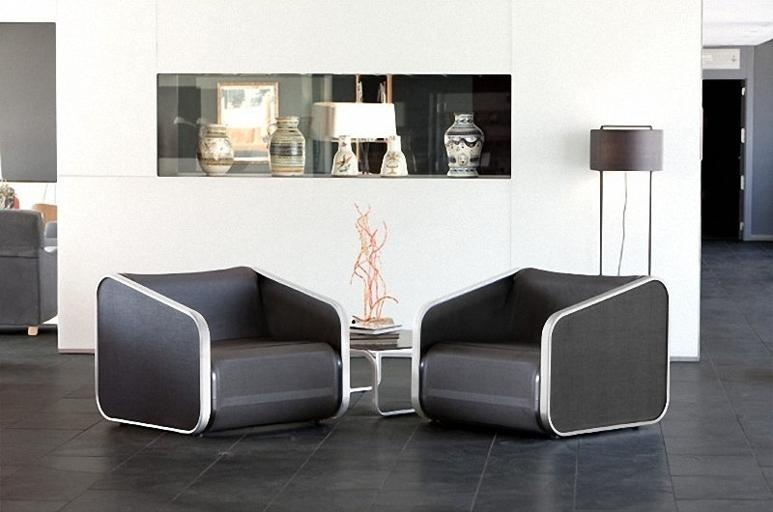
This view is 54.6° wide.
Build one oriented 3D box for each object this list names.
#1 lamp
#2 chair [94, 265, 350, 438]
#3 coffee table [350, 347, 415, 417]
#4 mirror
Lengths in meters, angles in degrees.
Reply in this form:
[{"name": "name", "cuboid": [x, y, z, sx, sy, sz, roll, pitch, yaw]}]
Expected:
[{"name": "lamp", "cuboid": [2.129, -0.492, 6.669, 0.632, 1.348, 0.586, 1, 8, 15]}, {"name": "chair", "cuboid": [-1.162, 0.655, 5.249, 1.274, 1.022, 1.326, 1, -4, -44]}, {"name": "coffee table", "cuboid": [0.014, 1.037, 6.031, 0.457, 0.346, 0.712, 2, -3, -19]}, {"name": "mirror", "cuboid": [-1.323, -1.279, 7.120, 0.773, 1.035, 0.042, 0, 2, 0]}]
